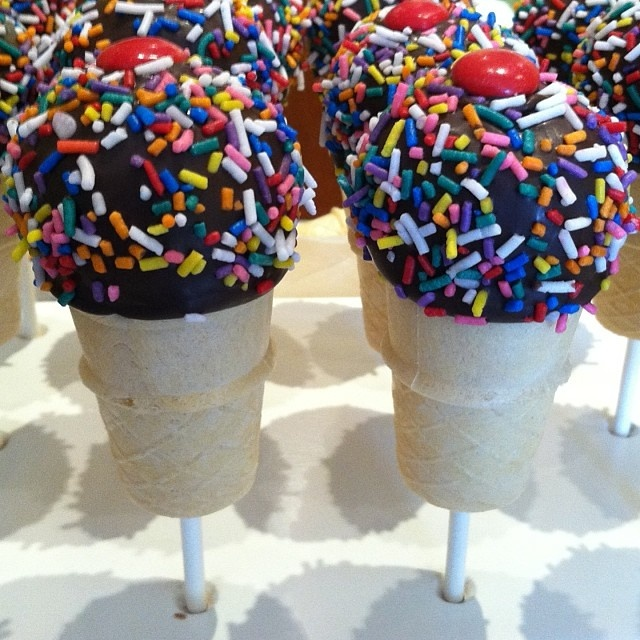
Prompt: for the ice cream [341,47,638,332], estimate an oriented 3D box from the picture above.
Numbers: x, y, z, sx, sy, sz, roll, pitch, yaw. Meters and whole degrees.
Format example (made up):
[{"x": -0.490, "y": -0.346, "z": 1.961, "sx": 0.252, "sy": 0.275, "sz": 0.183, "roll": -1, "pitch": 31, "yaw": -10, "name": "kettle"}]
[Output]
[{"x": 0.210, "y": -0.262, "z": 1.524, "sx": 0.421, "sy": 0.248, "sz": 0.571, "roll": -17, "pitch": 54, "yaw": -13, "name": "ice cream"}]
